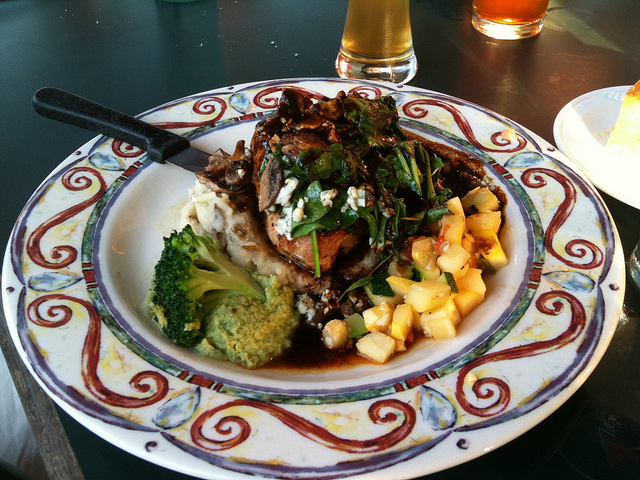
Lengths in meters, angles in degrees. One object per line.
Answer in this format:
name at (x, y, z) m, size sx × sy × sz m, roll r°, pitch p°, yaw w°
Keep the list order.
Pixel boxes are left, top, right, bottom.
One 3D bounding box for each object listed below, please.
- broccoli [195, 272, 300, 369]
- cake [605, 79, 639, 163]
broccoli at (-0.387, 0.515, 3.468) m, size 0.450 × 0.154 × 0.520 m, roll 16°, pitch 48°, yaw 1°
cake at (2.324, -0.876, 4.323) m, size 0.219 × 0.552 × 0.379 m, roll 22°, pitch 52°, yaw 16°
